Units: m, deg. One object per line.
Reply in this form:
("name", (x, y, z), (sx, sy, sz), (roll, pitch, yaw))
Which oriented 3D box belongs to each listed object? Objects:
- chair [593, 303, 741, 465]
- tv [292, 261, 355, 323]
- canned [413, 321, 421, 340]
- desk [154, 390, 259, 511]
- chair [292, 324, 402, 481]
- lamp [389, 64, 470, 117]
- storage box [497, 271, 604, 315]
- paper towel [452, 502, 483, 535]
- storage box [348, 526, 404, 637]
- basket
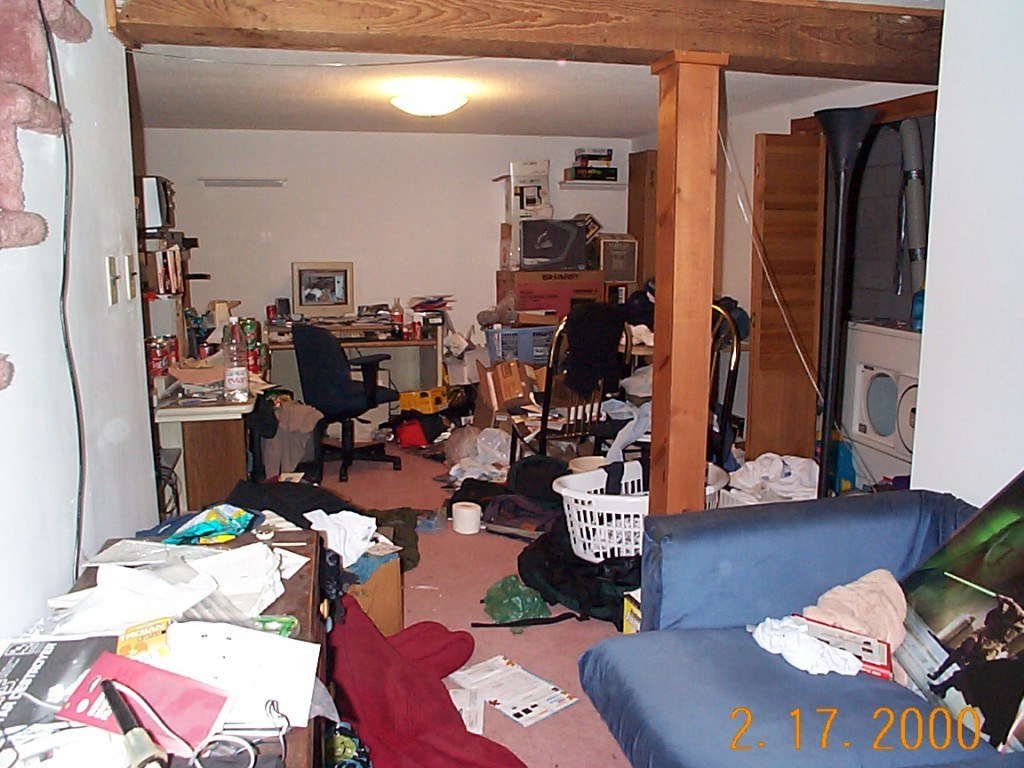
("chair", (1.004, -0.081, 4.867), (0.688, 0.927, 2.523), (-1, 9, 14))
("tv", (-1.459, -0.739, 6.360), (0.648, 0.607, 0.369), (-1, 13, -12))
("canned", (-0.715, -0.404, 5.987), (0.073, 0.121, 0.169), (-4, 9, -6))
("desk", (-1.492, 0.326, 4.054), (0.405, 0.564, 0.394), (-5, 21, -9))
("chair", (-1.070, 0.069, 5.107), (0.622, 0.948, 0.596), (8, 12, 44))
("lamp", (-0.521, -1.787, 4.972), (0.488, 0.123, 0.680), (-4, 9, -5))
("storage box", (0.395, -0.759, 6.570), (0.765, 0.376, 0.183), (-7, 10, -22))
("paper towel", (-0.238, 0.700, 4.175), (0.144, 0.116, 0.145), (10, 10, 40))
("storage box", (-0.486, 0.749, 2.963), (0.232, 0.377, 0.106), (-11, 12, -42))
("basket", (0.535, 0.510, 3.466), (0.629, 0.270, 0.428), (-5, 5, -19))
